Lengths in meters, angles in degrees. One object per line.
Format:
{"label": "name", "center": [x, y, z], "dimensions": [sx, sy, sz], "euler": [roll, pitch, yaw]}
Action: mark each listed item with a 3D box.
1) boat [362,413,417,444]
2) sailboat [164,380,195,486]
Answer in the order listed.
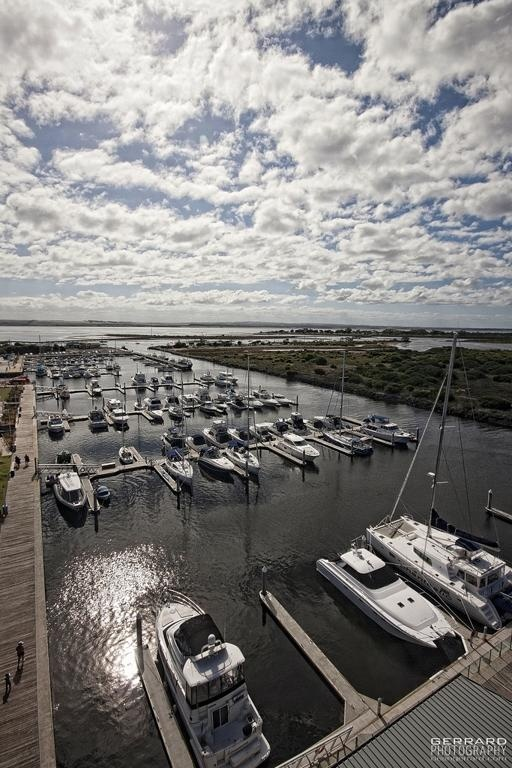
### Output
{"label": "boat", "center": [15.612, 5.384, 52.151], "dimensions": [2.327, 3.120, 8.286], "euler": [-5, 5, -23]}
{"label": "sailboat", "center": [-9.225, 5.414, 51.427], "dimensions": [2.604, 4.769, 11.670], "euler": [2, 29, -17]}
